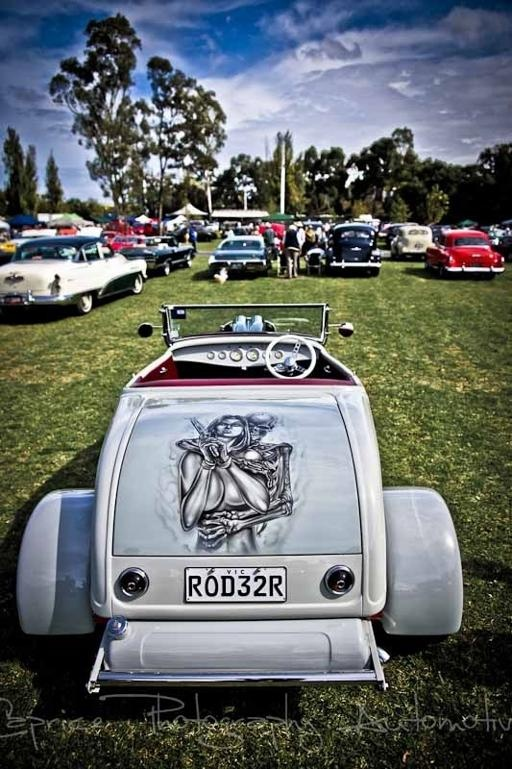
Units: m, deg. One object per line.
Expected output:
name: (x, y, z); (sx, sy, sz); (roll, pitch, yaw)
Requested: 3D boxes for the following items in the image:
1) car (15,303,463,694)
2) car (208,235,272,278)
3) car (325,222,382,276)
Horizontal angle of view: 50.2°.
car: (-0.063, 0.306, 3.090); (1.681, 1.253, 2.765); (-1, 16, 0)
car: (-0.411, -3.873, 16.707); (1.271, 0.871, 2.835); (-2, 24, 3)
car: (3.098, -4.257, 17.530); (1.160, 1.135, 2.309); (2, 30, 5)
